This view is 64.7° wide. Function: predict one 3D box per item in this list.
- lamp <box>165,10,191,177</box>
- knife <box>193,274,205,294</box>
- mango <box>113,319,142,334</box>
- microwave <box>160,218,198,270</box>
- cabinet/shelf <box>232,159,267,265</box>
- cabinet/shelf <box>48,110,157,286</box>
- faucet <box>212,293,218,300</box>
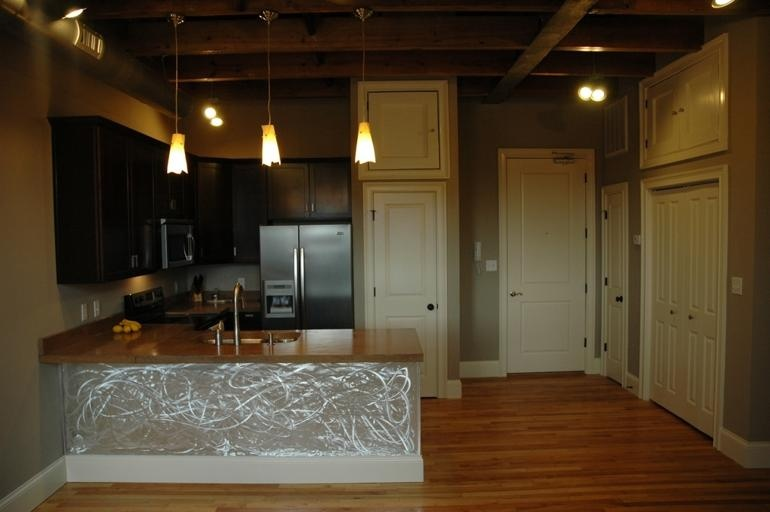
[{"bbox_3d":[-1.977,-1.551,5.749,0.223,1.404,0.242,4,13,2],"label":"lamp"},{"bbox_3d":[-2.400,0.339,7.792,0.114,0.223,0.216,0,7,-3],"label":"knife"},{"bbox_3d":[-2.620,0.685,6.120,0.280,0.118,0.247,-1,7,-12],"label":"mango"},{"bbox_3d":[-2.275,-0.148,6.629,0.405,0.583,0.739,-1,0,1],"label":"microwave"},{"bbox_3d":[-1.701,-0.570,7.618,0.430,1.255,0.171,-2,8,-15],"label":"cabinet/shelf"},{"bbox_3d":[-2.644,-0.546,5.849,0.452,1.523,1.036,4,8,28],"label":"cabinet/shelf"},{"bbox_3d":[-2.175,0.507,7.779,0.068,0.075,0.069,0,1,2],"label":"faucet"}]
